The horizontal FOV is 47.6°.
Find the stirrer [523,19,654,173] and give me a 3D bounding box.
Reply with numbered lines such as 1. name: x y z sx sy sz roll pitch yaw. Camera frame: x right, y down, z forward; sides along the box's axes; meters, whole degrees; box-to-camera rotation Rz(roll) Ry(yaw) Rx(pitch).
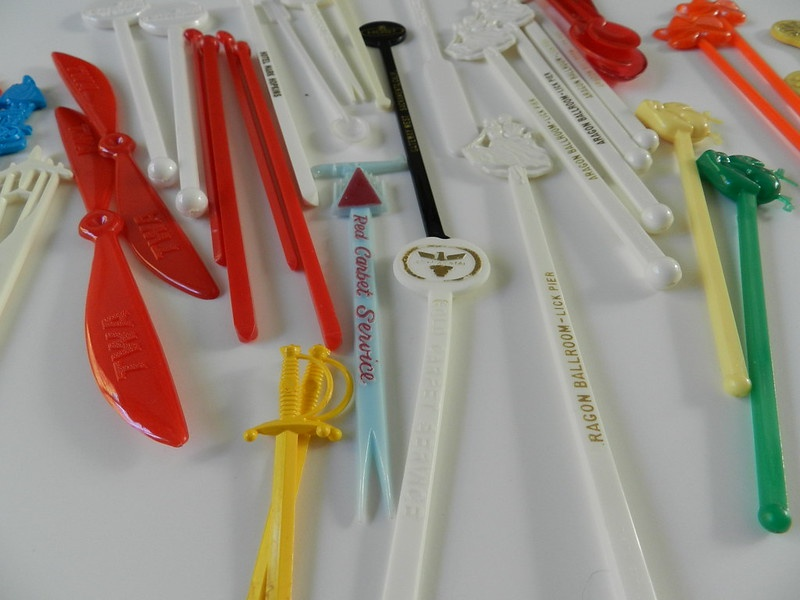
1. stirrer: 0.298 -0.311 1.427 0.034 0.039 0.309 -22 57 5
